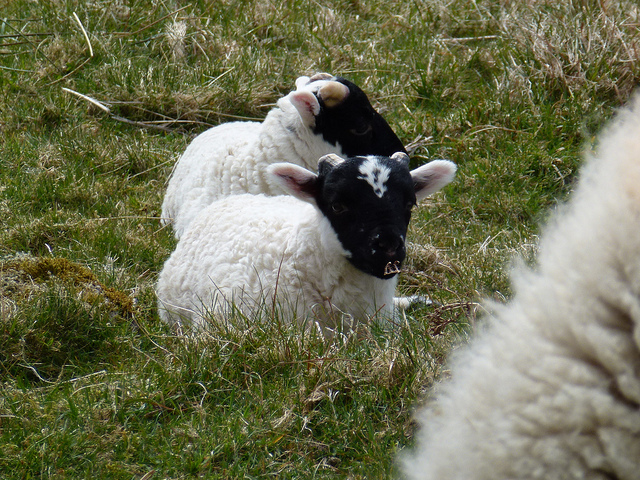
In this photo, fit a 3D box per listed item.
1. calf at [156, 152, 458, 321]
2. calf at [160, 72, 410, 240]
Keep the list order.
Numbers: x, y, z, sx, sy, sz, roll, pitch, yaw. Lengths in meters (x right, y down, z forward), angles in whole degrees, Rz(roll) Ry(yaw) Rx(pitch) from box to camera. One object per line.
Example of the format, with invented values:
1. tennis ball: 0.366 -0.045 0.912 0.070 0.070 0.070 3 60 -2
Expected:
1. calf: -0.124 0.063 6.052 1.363 1.339 2.093 -6 12 -34
2. calf: -0.304 -0.604 6.832 1.592 1.279 1.078 1 14 -6
